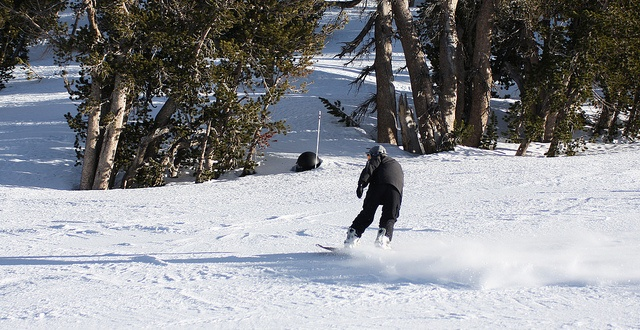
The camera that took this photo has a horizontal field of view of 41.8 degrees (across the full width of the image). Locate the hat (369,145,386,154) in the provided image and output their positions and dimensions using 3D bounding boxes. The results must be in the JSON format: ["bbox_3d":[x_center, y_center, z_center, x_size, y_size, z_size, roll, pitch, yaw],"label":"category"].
[{"bbox_3d":[2.807,-0.728,40.442,0.646,0.341,0.429,2,8,29],"label":"hat"}]

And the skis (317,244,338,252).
[{"bbox_3d":[0.248,3.924,40.237,1.406,0.262,0.189,8,15,18],"label":"skis"}]
